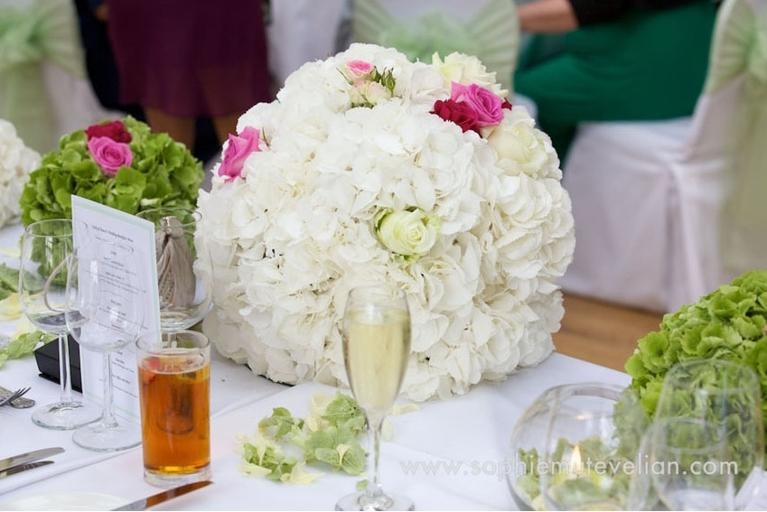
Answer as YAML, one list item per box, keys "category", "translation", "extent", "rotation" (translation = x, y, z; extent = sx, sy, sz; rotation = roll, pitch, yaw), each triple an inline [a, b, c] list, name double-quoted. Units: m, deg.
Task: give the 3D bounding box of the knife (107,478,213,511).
- category: "knife"
  translation: [-0.411, 0.448, 1.298]
  extent: [0.201, 0.003, 0.029]
  rotation: [-11, 61, -34]

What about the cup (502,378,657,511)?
- category: "cup"
  translation: [0.328, 0.305, 1.240]
  extent: [0.212, 0.220, 0.227]
  rotation: [-1, -2, 0]

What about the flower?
- category: "flower"
  translation: [-0.090, -0.166, 1.745]
  extent: [1.011, 0.897, 0.881]
  rotation: [-5, 25, -21]

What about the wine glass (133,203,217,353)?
- category: "wine glass"
  translation: [-0.486, 0.038, 1.729]
  extent: [0.247, 0.358, 0.257]
  rotation: [-9, 15, -34]
